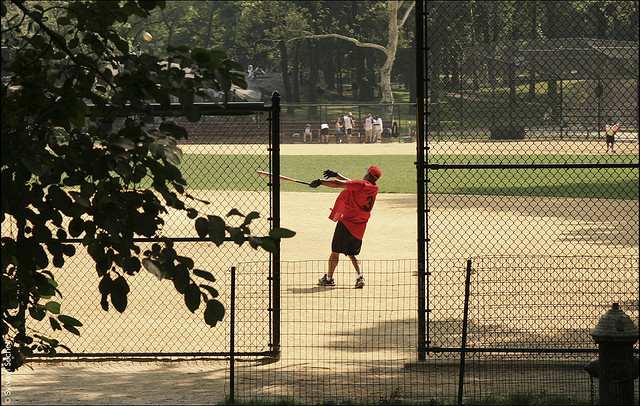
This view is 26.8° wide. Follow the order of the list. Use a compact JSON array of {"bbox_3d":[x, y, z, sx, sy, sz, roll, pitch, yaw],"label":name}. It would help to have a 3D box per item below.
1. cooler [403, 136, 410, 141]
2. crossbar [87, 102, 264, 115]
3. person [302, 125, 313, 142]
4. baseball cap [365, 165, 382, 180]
[{"bbox_3d":[4.185,-3.258,65.705,0.317,0.257,0.413,2,0,-1],"label":"cooler"},{"bbox_3d":[-2.754,-1.791,24.767,3.033,0.183,0.189,-5,5,-11],"label":"crossbar"},{"bbox_3d":[-0.638,-3.536,65.813,0.418,0.208,1.072,-1,-24,0],"label":"person"},{"bbox_3d":[1.229,-0.665,30.158,0.165,0.333,0.464,-45,-24,8],"label":"baseball cap"}]
